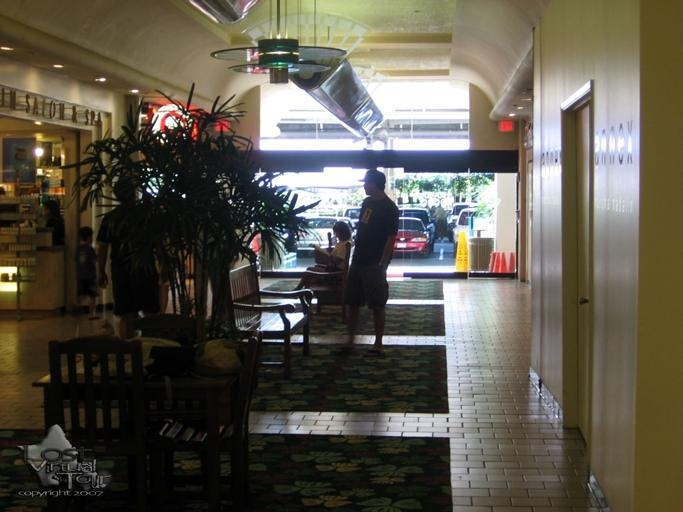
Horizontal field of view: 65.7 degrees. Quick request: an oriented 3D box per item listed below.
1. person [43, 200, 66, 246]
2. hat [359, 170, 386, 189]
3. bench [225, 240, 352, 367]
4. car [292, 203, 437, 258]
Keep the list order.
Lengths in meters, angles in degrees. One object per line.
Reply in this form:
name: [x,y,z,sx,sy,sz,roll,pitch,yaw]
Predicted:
person: [-5.631,-0.669,10.365,0.385,0.896,0.682,3,2,-30]
hat: [0.404,-1.011,6.922,0.286,0.167,0.211,15,9,16]
bench: [-0.729,0.342,6.600,1.006,1.419,2.078,0,4,5]
car: [0.936,-0.685,15.085,1.754,1.458,3.099,0,-2,38]
